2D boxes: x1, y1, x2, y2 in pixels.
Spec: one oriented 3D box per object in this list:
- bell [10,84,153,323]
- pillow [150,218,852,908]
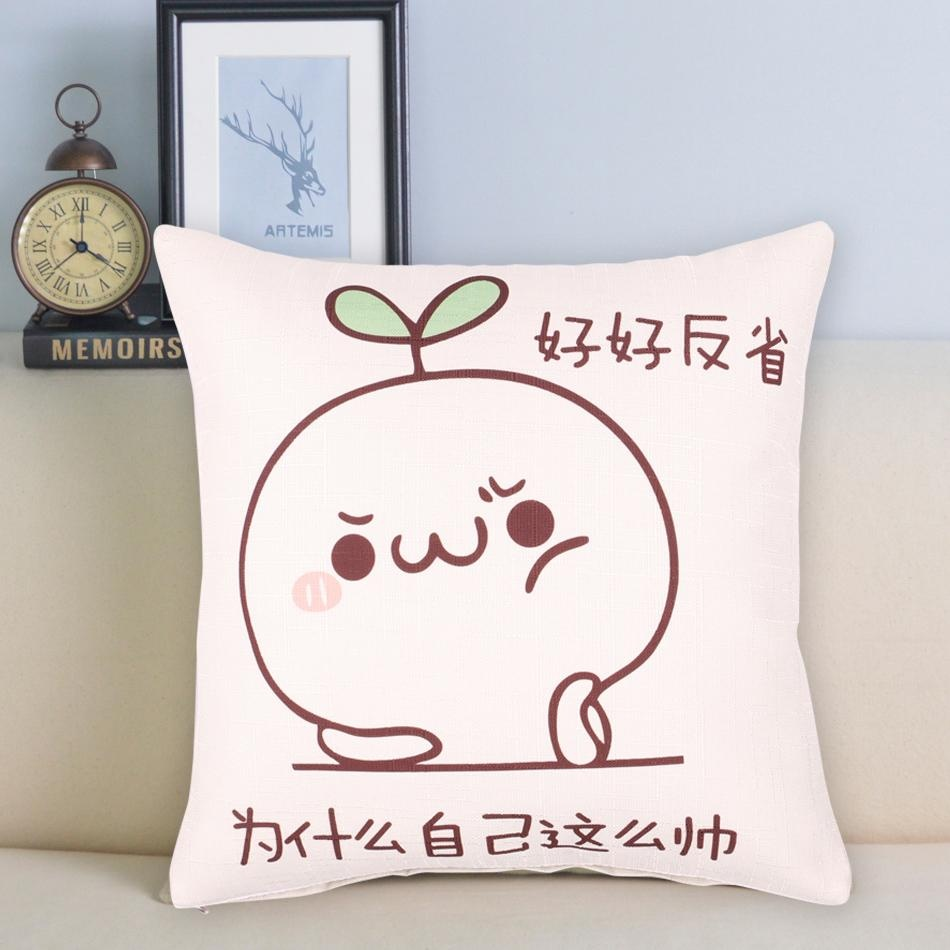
[{"bbox_3d":[-0.422,-0.301,1.453,0.160,0.273,0.114,-1,-8,32],"label":"bell"},{"bbox_3d":[0.015,0.101,1.229,0.594,0.626,0.213,-1,-5,3],"label":"pillow"}]
